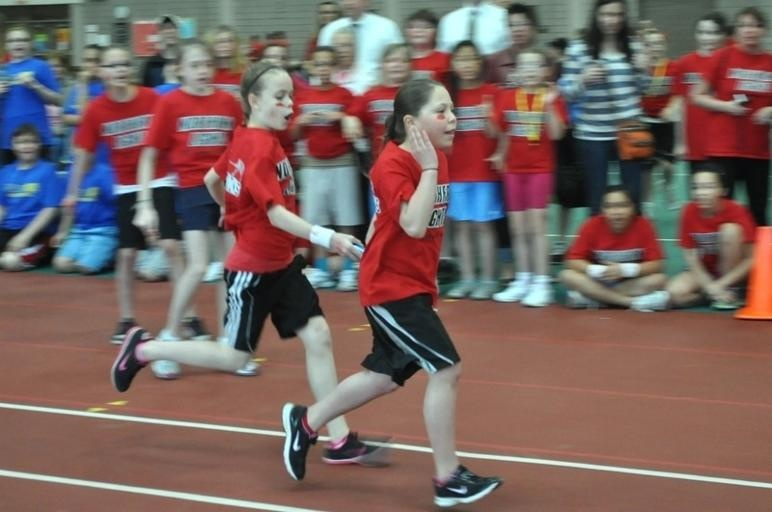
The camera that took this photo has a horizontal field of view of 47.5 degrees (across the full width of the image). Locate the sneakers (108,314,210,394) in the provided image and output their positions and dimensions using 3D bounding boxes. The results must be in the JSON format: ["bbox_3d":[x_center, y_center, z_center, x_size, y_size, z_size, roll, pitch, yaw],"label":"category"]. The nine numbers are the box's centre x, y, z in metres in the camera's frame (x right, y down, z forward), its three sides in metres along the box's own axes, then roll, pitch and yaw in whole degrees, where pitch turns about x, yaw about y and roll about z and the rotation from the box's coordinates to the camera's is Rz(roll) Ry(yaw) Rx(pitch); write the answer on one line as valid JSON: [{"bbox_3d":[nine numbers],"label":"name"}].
[{"bbox_3d":[-1.642,0.637,5.745,0.231,0.471,0.207,22,20,40],"label":"sneakers"}]

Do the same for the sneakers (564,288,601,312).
[{"bbox_3d":[1.780,0.404,7.976,0.302,0.087,0.155,7,-1,-3],"label":"sneakers"}]

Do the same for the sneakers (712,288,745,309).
[{"bbox_3d":[3.090,0.387,7.969,0.260,0.183,0.184,-3,-3,8],"label":"sneakers"}]

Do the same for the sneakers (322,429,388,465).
[{"bbox_3d":[-0.193,1.187,5.422,0.382,0.192,0.097,0,9,-3],"label":"sneakers"}]

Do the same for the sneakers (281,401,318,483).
[{"bbox_3d":[-0.519,1.070,5.131,0.257,0.447,0.169,-5,-2,8],"label":"sneakers"}]

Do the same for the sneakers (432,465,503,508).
[{"bbox_3d":[0.428,1.271,4.843,0.471,0.186,0.170,-7,5,11],"label":"sneakers"}]

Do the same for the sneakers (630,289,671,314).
[{"bbox_3d":[2.376,0.398,7.870,0.306,0.166,0.120,-4,-28,11],"label":"sneakers"}]
